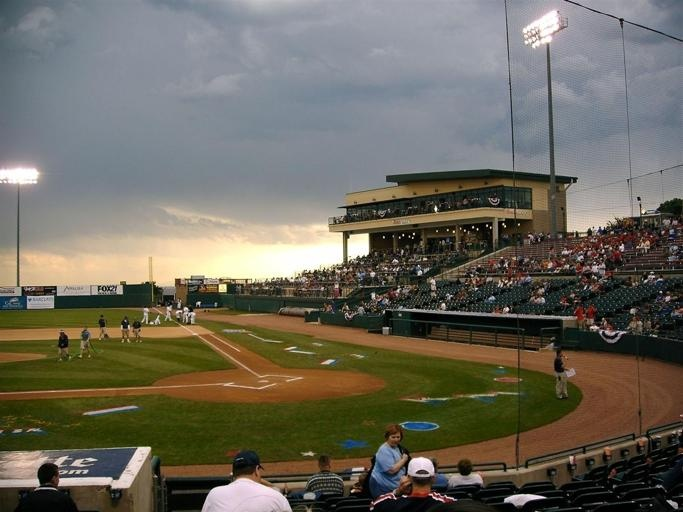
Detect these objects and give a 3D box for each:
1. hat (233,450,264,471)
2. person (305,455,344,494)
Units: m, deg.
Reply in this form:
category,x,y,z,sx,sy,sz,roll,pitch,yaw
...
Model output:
category,x,y,z,sx,sy,sz,roll,pitch,yaw
hat,-2.483,5.443,23.111,0.659,0.490,1.056,1,-20,3
person,-0.511,6.816,26.769,1.229,1.303,0.710,-1,-2,2
